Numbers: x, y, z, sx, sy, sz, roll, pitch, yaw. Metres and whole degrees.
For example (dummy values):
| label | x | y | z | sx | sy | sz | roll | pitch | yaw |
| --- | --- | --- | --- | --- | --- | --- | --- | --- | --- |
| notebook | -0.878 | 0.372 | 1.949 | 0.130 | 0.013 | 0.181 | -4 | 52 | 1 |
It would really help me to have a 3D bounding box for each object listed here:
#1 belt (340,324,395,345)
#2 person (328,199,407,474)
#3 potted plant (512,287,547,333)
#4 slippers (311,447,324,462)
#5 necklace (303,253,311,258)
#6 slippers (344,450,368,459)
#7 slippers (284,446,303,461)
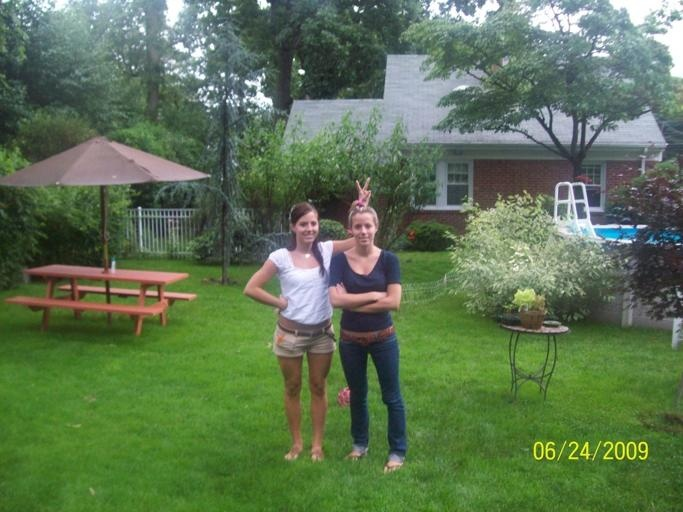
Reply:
| label | x | y | z | sx | sy | sz | roll | pitch | yaw |
| --- | --- | --- | --- | --- | --- | --- | --- | --- | --- |
| belt | 0.280 | 0.862 | 6.552 | 0.596 | 0.191 | 0.156 | 1 | 12 | 0 |
| person | 0.309 | 0.891 | 6.629 | 0.921 | 2.828 | 0.709 | 4 | 13 | 16 |
| potted plant | 2.732 | 0.806 | 8.527 | 0.453 | 0.557 | 0.458 | 0 | 1 | -23 |
| slippers | -0.280 | 2.252 | 6.753 | 0.126 | 0.224 | 0.135 | 1 | -6 | -14 |
| necklace | -0.392 | -0.008 | 6.744 | 0.045 | 0.048 | 0.012 | -4 | -19 | -13 |
| slippers | 0.167 | 2.261 | 6.802 | 0.085 | 0.061 | 0.223 | -2 | -9 | 32 |
| slippers | -0.555 | 2.267 | 6.796 | 0.096 | 0.189 | 0.209 | 2 | -15 | 14 |
